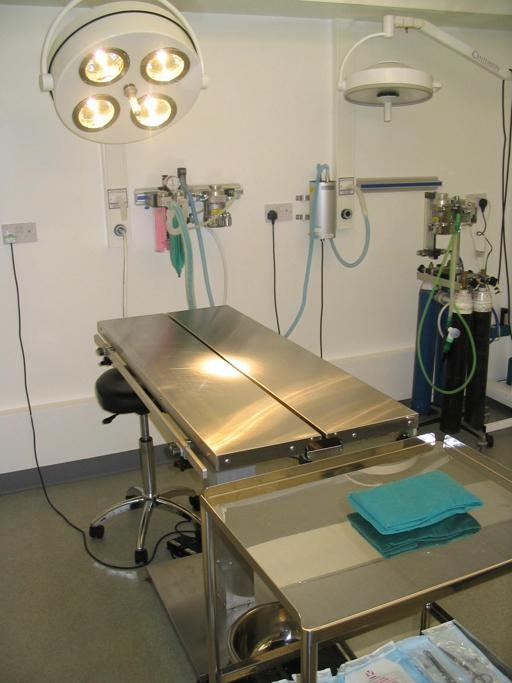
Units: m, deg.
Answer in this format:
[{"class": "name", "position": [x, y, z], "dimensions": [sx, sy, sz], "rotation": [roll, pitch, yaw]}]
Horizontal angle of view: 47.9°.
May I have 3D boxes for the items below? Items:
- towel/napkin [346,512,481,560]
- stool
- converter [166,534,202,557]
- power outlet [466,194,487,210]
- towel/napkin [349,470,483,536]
[{"class": "towel/napkin", "position": [0.268, 0.316, 0.951], "dimensions": [0.096, 0.023, 0.083], "rotation": [-8, 13, -23]}, {"class": "stool", "position": [-0.492, 0.500, 2.470], "dimensions": [0.481, 0.772, 0.563], "rotation": [-2, 15, -6]}, {"class": "converter", "position": [-0.299, 0.855, 2.409], "dimensions": [0.094, 0.029, 0.098], "rotation": [-7, 21, -26]}, {"class": "power outlet", "position": [1.159, -0.732, 3.035], "dimensions": [0.041, 0.128, 0.131], "rotation": [-21, -2, 42]}, {"class": "towel/napkin", "position": [0.276, 0.281, 1.007], "dimensions": [0.130, 0.030, 0.103], "rotation": [-10, 17, -19]}]
